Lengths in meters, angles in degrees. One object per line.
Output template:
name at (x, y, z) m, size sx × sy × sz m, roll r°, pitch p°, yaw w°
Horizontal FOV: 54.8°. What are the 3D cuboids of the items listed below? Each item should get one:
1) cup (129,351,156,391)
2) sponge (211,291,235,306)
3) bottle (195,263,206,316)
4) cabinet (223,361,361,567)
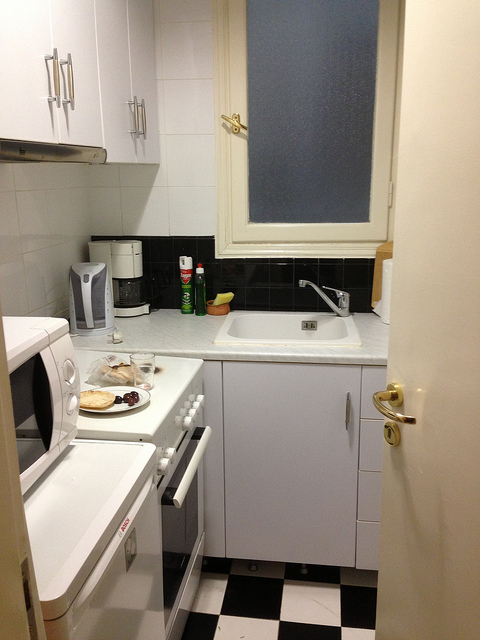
cup at (-0.328, 0.167, 1.565) m, size 0.077 × 0.131 × 0.094 m, roll 2°, pitch 11°, yaw -6°
sponge at (-0.087, -0.110, 2.365) m, size 0.114 × 0.065 × 0.109 m, roll -4°, pitch 18°, yaw 2°
bottle at (-0.202, -0.152, 2.327) m, size 0.052 × 0.248 × 0.090 m, roll -4°, pitch 15°, yaw -5°
cabinet at (0.188, 0.521, 2.208) m, size 0.613 × 1.258 × 0.689 m, roll 0°, pitch 5°, yaw 9°
